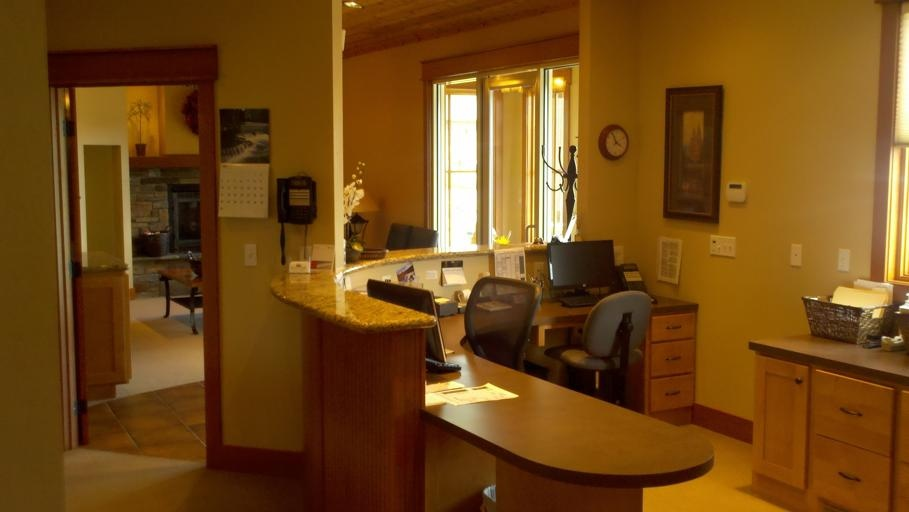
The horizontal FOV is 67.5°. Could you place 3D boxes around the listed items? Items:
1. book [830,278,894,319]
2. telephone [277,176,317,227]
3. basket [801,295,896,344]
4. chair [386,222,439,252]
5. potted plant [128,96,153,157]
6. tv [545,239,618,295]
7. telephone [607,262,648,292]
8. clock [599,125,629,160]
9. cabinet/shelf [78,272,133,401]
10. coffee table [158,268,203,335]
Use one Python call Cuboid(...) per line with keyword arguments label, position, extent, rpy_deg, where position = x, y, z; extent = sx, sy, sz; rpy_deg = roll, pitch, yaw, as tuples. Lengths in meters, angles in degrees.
Cuboid(label="book", position=(2.898, 0.267, 4.821), extent=(0.302, 0.183, 0.291), rpy_deg=(-7, 11, -37))
Cuboid(label="telephone", position=(-1.163, -0.409, 5.004), extent=(0.288, 0.355, 0.190), rpy_deg=(-2, -5, -13))
Cuboid(label="basket", position=(2.718, 0.431, 4.831), extent=(0.333, 0.200, 0.427), rpy_deg=(-2, 2, -21))
Cuboid(label="chair", position=(-0.520, -0.222, 8.228), extent=(0.251, 0.304, 0.871), rpy_deg=(-5, 8, -35))
Cuboid(label="potted plant", position=(-4.751, -2.003, 10.306), extent=(0.342, 0.734, 0.144), rpy_deg=(-3, 6, -17))
Cuboid(label="tv", position=(1.090, 0.094, 5.979), extent=(0.515, 0.348, 0.110), rpy_deg=(0, -7, -13))
Cuboid(label="telephone", position=(1.532, 0.202, 6.105), extent=(0.224, 0.269, 0.295), rpy_deg=(-1, -1, -6))
Cuboid(label="clock", position=(1.385, -1.009, 6.008), extent=(0.322, 0.308, 0.064), rpy_deg=(3, 2, -34))
Cuboid(label="cabinet/shelf", position=(-3.261, 0.717, 6.387), extent=(0.422, 1.230, 0.220), rpy_deg=(-5, 8, -35))
Cuboid(label="coffee table", position=(-3.638, 0.620, 9.026), extent=(0.528, 0.418, 0.853), rpy_deg=(-1, 7, -32))
